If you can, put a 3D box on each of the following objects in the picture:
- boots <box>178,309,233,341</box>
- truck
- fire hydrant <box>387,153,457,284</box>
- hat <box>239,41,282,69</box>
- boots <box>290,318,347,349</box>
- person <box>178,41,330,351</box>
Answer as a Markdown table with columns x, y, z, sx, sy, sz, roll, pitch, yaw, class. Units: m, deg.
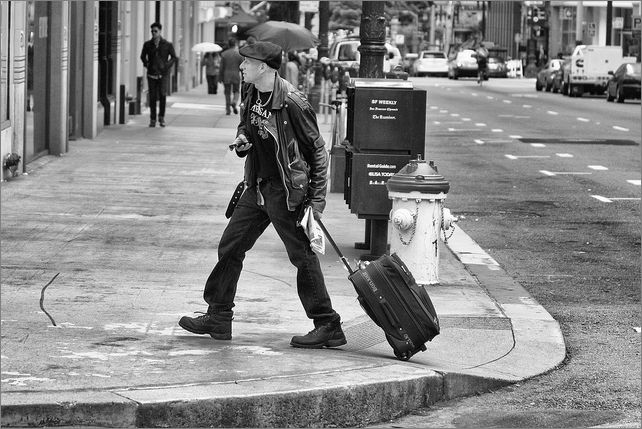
| x | y | z | sx | sy | sz | roll | pitch | yaw | class |
| --- | --- | --- | --- | --- | --- | --- | --- | --- | --- |
| -1.026 | 1.036 | 12.210 | 0.553 | 0.283 | 0.207 | 15 | 2 | 2 | boots |
| 10.466 | -5.559 | 50.358 | 1.515 | 1.208 | 2.455 | -1 | 3 | -9 | truck |
| 1.026 | 0.069 | 14.321 | 0.554 | 1.506 | 0.875 | 1 | 1 | -4 | fire hydrant |
| -0.557 | -1.455 | 11.985 | 0.396 | 0.247 | 0.343 | 1 | 14 | -3 | hat |
| -0.017 | 1.114 | 11.956 | 0.553 | 0.265 | 0.397 | -1 | 0 | 1 | boots |
| -0.454 | -0.176 | 12.007 | 1.380 | 2.736 | 0.788 | 1 | 13 | 1 | person |
